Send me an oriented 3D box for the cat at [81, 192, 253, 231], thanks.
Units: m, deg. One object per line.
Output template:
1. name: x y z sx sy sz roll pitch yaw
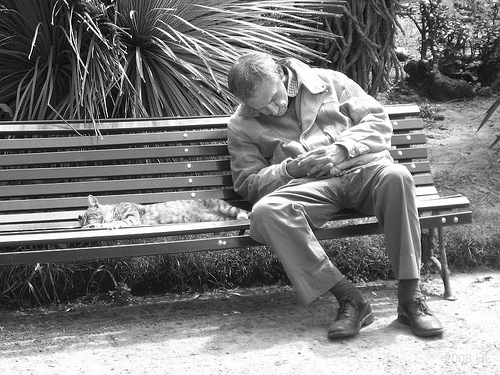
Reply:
1. cat: -0.594 0.157 2.982 0.766 0.161 0.187 -6 -6 -14

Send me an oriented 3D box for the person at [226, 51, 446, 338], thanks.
1. person: 0.465 -0.067 2.627 1.070 1.638 1.293 -16 12 -22

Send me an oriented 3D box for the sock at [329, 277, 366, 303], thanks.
1. sock: 0.527 0.547 2.332 0.192 0.121 0.072 -1 7 7
